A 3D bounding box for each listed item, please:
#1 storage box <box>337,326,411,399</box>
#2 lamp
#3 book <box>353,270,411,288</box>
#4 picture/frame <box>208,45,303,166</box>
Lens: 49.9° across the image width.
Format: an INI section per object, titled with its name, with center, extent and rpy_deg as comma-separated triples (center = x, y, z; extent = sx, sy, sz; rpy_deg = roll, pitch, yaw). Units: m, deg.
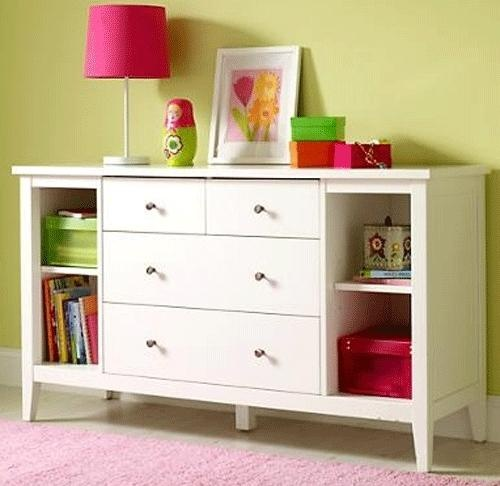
[storage box]
center = 0.352, 0.308, 1.456
extent = 0.157, 0.110, 0.156
rpy_deg = 1, -3, -42
[lamp]
center = -0.451, -0.593, 1.985
extent = 0.301, 0.616, 0.381
rpy_deg = 0, 6, 9
[book]
center = 0.347, 0.089, 1.417
extent = 0.150, 0.034, 0.059
rpy_deg = 1, 7, 19
[picture/frame]
center = 0.033, -0.488, 1.903
extent = 0.424, 0.610, 0.038
rpy_deg = 1, -3, 29
